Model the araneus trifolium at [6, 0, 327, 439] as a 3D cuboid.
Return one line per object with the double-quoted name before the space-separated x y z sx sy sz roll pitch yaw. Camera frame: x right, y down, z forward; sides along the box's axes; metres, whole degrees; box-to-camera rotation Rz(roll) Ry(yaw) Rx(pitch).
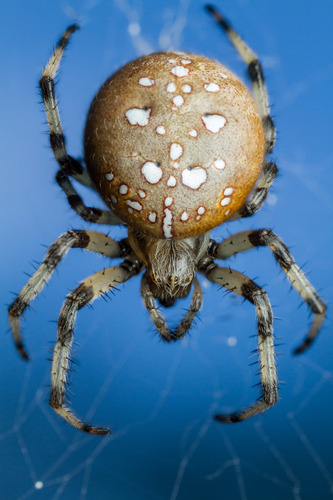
"araneus trifolium" 0.013 -0.141 1.216 0.814 1.138 0.269 -1 21 -2
